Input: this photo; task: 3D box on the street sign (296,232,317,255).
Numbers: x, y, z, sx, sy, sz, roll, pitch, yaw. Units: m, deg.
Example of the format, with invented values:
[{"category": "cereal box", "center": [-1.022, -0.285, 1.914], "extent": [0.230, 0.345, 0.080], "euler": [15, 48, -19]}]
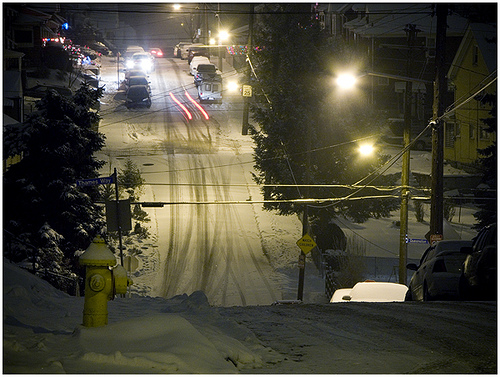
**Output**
[{"category": "street sign", "center": [2.820, 2.812, 34.234], "extent": [0.778, 0.999, 0.890], "euler": [1, 4, -29]}]

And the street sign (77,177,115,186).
[{"category": "street sign", "center": [-5.959, -0.274, 26.757], "extent": [1.106, 0.398, 1.695], "euler": [1, 4, -35]}]

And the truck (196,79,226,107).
[{"category": "truck", "center": [-4.494, -9.918, 69.869], "extent": [2.637, 2.529, 4.844], "euler": [-2, 18, -22]}]

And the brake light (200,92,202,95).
[{"category": "brake light", "center": [-4.779, -9.312, 67.936], "extent": [0.179, 0.245, 0.065], "euler": [4, 4, 16]}]

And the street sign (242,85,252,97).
[{"category": "street sign", "center": [-0.140, -7.004, 49.570], "extent": [0.629, 0.819, 1.327], "euler": [3, 3, -4]}]

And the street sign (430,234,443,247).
[{"category": "street sign", "center": [7.677, 2.118, 28.343], "extent": [0.446, 0.400, 0.520], "euler": [4, 3, 11]}]

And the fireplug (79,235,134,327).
[{"category": "fireplug", "center": [-3.517, 2.269, 16.562], "extent": [0.920, 2.174, 0.949], "euler": [6, 4, 39]}]

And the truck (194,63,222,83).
[{"category": "truck", "center": [-4.237, -11.452, 68.733], "extent": [1.699, 1.353, 2.777], "euler": [0, 15, -3]}]

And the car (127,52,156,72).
[{"category": "car", "center": [-12.986, -15.012, 81.904], "extent": [2.856, 2.627, 4.941], "euler": [3, 3, -8]}]

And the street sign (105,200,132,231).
[{"category": "street sign", "center": [-5.020, 1.037, 26.364], "extent": [1.134, 1.186, 0.031], "euler": [1, 11, 19]}]

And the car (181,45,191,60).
[{"category": "car", "center": [-8.708, -18.418, 93.704], "extent": [1.593, 1.289, 2.762], "euler": [1, 13, -2]}]
